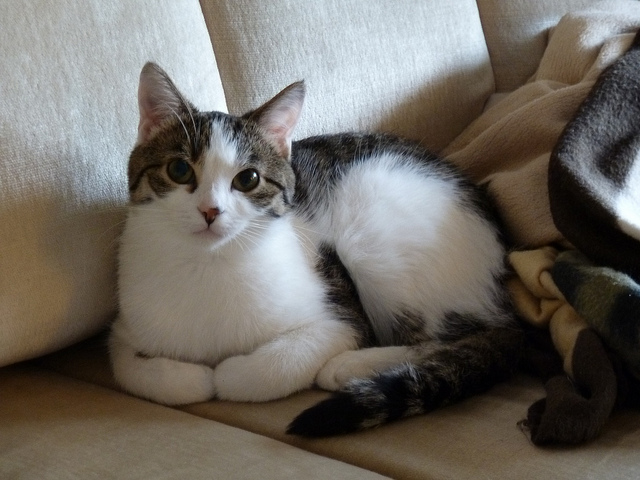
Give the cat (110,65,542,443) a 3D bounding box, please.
[{"bbox_3d":[0.007,-0.023,1.801,0.927,0.869,0.667,-8,4,-8],"label":"cat"}]
